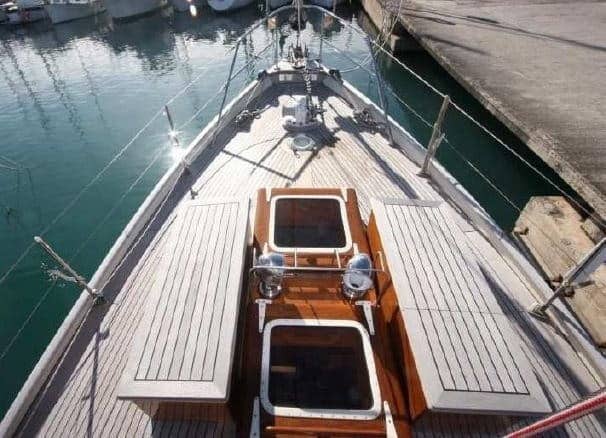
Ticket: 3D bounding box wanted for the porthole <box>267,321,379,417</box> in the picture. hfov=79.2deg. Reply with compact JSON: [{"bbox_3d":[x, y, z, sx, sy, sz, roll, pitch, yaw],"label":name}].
[{"bbox_3d":[0.211,1.562,3.813,1.159,0.474,0.839,2,40,0],"label":"porthole"}]
